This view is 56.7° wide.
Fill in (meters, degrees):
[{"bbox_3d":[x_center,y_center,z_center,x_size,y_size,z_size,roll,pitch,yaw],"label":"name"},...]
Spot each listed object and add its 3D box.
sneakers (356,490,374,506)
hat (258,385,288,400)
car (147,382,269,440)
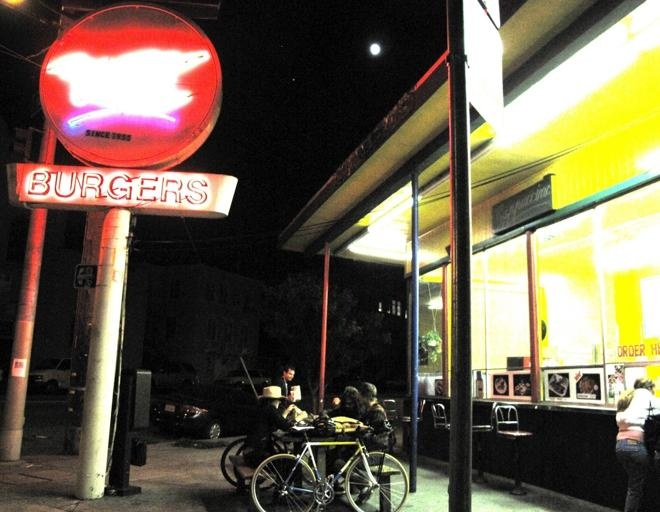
[{"bbox_3d":[0.534,3.807,9.572,0.141,0.196,0.460,-9,-26,-8],"label":"sneakers"},{"bbox_3d":[-0.884,2.289,10.181,0.465,0.170,0.409,4,-8,-25],"label":"hat"},{"bbox_3d":[-3.112,4.294,17.468,1.482,1.179,3.287,-4,-6,39],"label":"car"}]
